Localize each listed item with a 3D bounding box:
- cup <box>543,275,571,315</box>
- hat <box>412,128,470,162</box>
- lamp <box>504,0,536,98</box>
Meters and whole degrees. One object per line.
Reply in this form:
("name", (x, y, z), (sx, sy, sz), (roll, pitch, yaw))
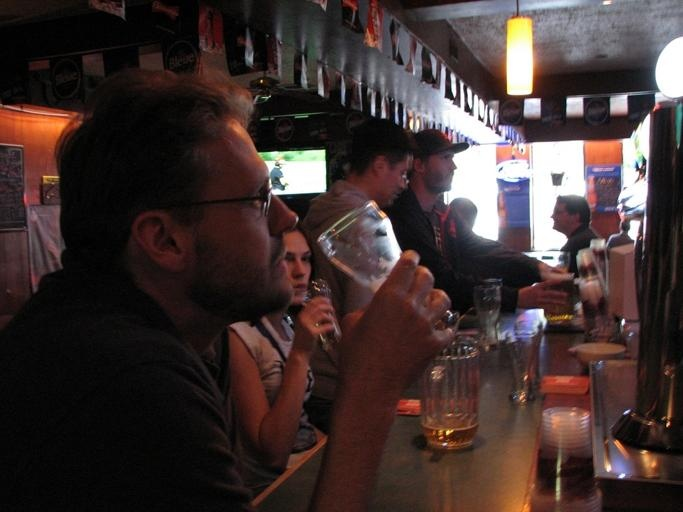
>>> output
("cup", (1.050, 0.195, 2.787), (0.132, 0.209, 0.300), (-4, 2, 19))
("hat", (0.683, -0.751, 4.018), (0.386, 0.211, 0.247), (-15, 8, 6))
("lamp", (1.082, -1.253, 3.493), (0.163, 0.576, 0.652), (-4, 2, 19))
